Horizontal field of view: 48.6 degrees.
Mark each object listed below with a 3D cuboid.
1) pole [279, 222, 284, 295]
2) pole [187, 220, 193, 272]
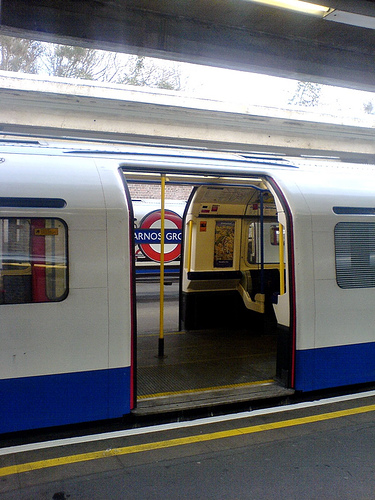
[{"bbox_3d":[0.957,0.080,4.256,0.061,0.729,0.263,1,2,13],"label":"pole"},{"bbox_3d":[0.040,-0.074,7.197,0.065,0.869,0.100,0,2,-31],"label":"pole"}]
